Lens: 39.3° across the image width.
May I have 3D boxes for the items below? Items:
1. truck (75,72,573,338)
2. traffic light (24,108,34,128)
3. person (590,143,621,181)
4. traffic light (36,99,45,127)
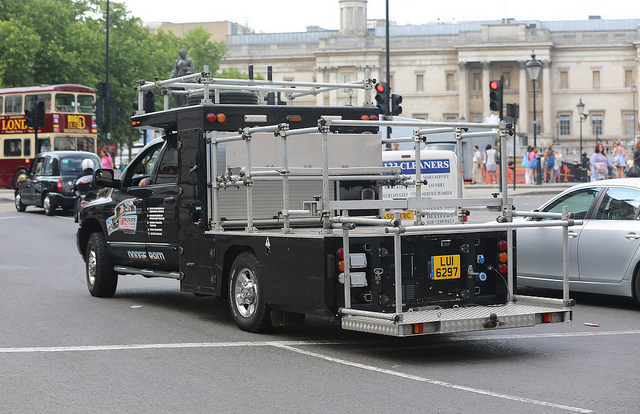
[{"bbox_3d":[-0.578,-0.157,14.916,3.970,3.369,9.128,0,2,-38],"label":"truck"},{"bbox_3d":[-12.066,-3.708,37.369,0.303,0.760,1.695,-1,6,-18],"label":"traffic light"},{"bbox_3d":[9.489,-1.244,30.166,0.952,1.676,0.670,0,6,-5],"label":"person"},{"bbox_3d":[-11.517,-3.834,36.853,0.282,1.004,0.654,-2,6,-25],"label":"traffic light"}]
